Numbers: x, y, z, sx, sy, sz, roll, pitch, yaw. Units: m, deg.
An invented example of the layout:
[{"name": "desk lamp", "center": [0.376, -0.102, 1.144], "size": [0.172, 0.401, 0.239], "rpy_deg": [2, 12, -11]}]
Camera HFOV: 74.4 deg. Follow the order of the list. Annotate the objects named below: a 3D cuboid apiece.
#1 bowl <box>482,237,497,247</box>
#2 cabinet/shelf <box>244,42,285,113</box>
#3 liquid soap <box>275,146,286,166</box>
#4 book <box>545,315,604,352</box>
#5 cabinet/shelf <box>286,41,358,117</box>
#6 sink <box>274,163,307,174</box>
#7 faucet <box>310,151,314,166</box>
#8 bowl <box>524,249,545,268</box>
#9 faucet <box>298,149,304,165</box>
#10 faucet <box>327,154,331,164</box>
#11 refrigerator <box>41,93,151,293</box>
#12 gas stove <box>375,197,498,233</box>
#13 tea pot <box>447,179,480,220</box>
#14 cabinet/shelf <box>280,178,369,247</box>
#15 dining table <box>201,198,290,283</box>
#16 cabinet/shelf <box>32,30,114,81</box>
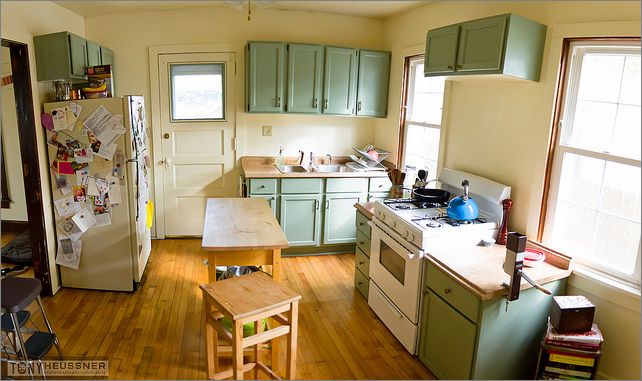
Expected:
[{"name": "bowl", "center": [1.675, 0.523, 4.200], "size": [0.097, 0.042, 0.093], "rpy_deg": [-1, 2, 0]}, {"name": "cabinet/shelf", "center": [-0.730, -1.547, 5.780], "size": [0.515, 0.936, 0.163], "rpy_deg": [1, 15, -2]}, {"name": "liquid soap", "center": [-0.599, -0.488, 6.181], "size": [0.113, 0.254, 0.297], "rpy_deg": [0, 14, -6]}, {"name": "book", "center": [2.185, 1.284, 3.659], "size": [0.296, 0.060, 0.271], "rpy_deg": [0, 16, 6]}, {"name": "cabinet/shelf", "center": [0.003, -1.563, 5.894], "size": [1.152, 0.904, 0.516], "rpy_deg": [0, 14, -10]}, {"name": "sink", "center": [-0.406, -0.286, 6.030], "size": [0.436, 0.104, 0.421], "rpy_deg": [-2, 13, -14]}, {"name": "faucet", "center": [-0.131, -0.462, 6.211], "size": [0.043, 0.186, 0.104], "rpy_deg": [-2, 15, -12]}, {"name": "bowl", "center": [1.997, 0.632, 3.952], "size": [0.220, 0.071, 0.248], "rpy_deg": [11, 29, 34]}, {"name": "faucet", "center": [-0.290, -0.494, 6.315], "size": [0.067, 0.193, 0.134], "rpy_deg": [1, 15, -3]}, {"name": "faucet", "center": [0.134, -0.470, 6.387], "size": [0.070, 0.139, 0.131], "rpy_deg": [1, 14, 0]}, {"name": "refrigerator", "center": [-2.636, 0.078, 4.877], "size": [0.986, 2.295, 0.314], "rpy_deg": [1, 15, 0]}, {"name": "gas stove", "center": [1.268, 0.263, 4.612], "size": [1.185, 0.318, 0.798], "rpy_deg": [-5, 5, 11]}, {"name": "tea pot", "center": [1.391, 0.136, 4.322], "size": [0.340, 0.332, 0.419], "rpy_deg": [3, 3, 6]}, {"name": "cabinet/shelf", "center": [0.014, 0.267, 5.721], "size": [1.076, 0.797, 0.377], "rpy_deg": [-1, 10, -8]}, {"name": "dining table", "center": [-0.761, 0.117, 4.183], "size": [0.774, 0.767, 1.658], "rpy_deg": [0, 21, -9]}, {"name": "cabinet/shelf", "center": [-3.061, -1.627, 5.335], "size": [0.411, 0.440, 1.312], "rpy_deg": [-2, 12, -4]}]
